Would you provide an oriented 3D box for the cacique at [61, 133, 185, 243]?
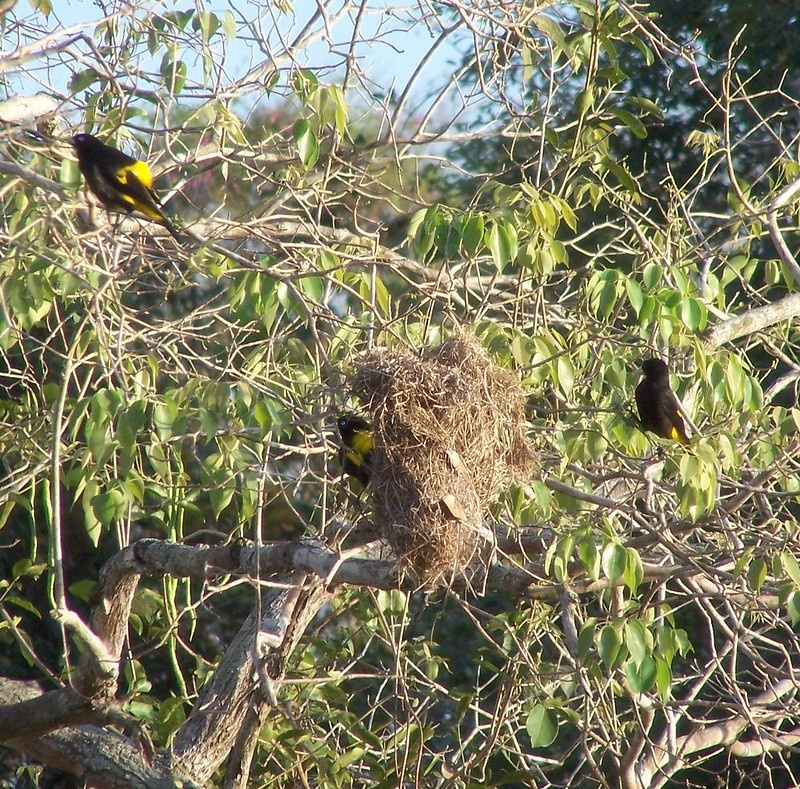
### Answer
[{"bbox_3d":[-1.024,-0.769,5.574,0.437,0.306,0.184,15,11,0],"label":"cacique"}]

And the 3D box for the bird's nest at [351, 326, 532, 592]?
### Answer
[{"bbox_3d":[0.177,0.265,5.651,0.375,0.857,0.812,-5,10,42],"label":"bird's nest"}]

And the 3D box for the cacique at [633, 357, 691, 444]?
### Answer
[{"bbox_3d":[1.054,0.023,5.882,0.272,0.309,0.175,17,4,-8],"label":"cacique"}]

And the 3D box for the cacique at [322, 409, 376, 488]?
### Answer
[{"bbox_3d":[-0.188,0.168,5.742,0.103,0.339,0.129,-14,-16,-14],"label":"cacique"}]
